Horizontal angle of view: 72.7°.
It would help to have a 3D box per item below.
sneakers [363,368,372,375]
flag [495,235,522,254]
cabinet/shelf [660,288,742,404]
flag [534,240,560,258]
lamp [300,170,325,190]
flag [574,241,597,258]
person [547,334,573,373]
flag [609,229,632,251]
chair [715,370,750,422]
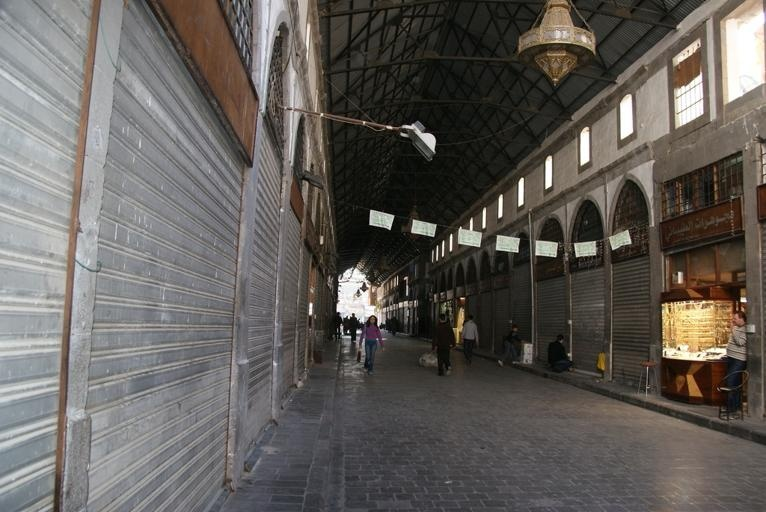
[{"bbox_3d":[-0.448,3.586,16.205,0.108,0.243,0.368,9,-25,-14],"label":"sneakers"},{"bbox_3d":[5.242,-0.541,21.643,0.886,0.780,0.162,2,5,7],"label":"flag"},{"bbox_3d":[7.131,2.016,11.620,1.144,2.413,1.887,6,-10,6],"label":"cabinet/shelf"},{"bbox_3d":[6.041,-0.292,19.134,0.573,0.501,0.095,4,-15,12],"label":"flag"},{"bbox_3d":[-1.685,-1.830,12.276,0.465,0.534,1.095,3,-5,-9],"label":"lamp"},{"bbox_3d":[6.650,-0.288,17.040,0.623,0.502,1.028,0,-6,26],"label":"flag"},{"bbox_3d":[6.069,3.278,17.825,0.753,1.254,0.949,0,-4,22],"label":"person"},{"bbox_3d":[7.009,-0.482,15.340,0.076,0.486,0.616,15,-1,-11],"label":"flag"},{"bbox_3d":[6.826,2.738,10.159,0.378,0.872,0.528,24,-26,-24],"label":"chair"}]
